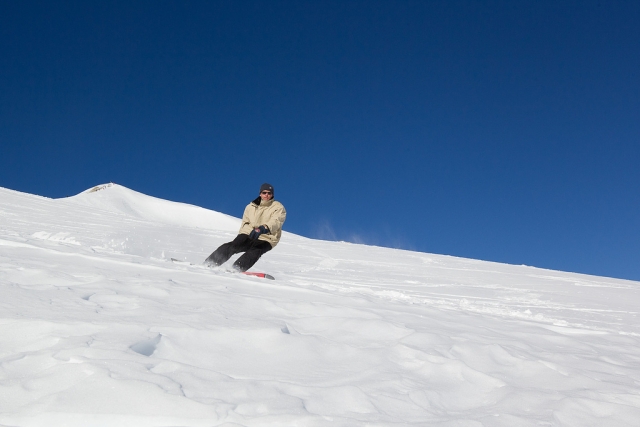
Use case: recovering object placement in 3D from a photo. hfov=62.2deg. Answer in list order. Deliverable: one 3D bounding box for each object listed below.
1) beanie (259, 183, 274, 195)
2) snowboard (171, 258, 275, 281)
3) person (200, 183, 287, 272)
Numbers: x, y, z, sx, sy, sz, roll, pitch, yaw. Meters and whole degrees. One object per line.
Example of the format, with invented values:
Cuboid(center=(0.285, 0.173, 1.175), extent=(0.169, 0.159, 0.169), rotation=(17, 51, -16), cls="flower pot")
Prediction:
Cuboid(center=(-0.932, -0.443, 9.411), extent=(0.202, 0.178, 0.292), rotation=(6, 1, -14), cls="beanie")
Cuboid(center=(-1.415, 0.861, 8.083), extent=(1.511, 0.106, 0.677), rotation=(6, 1, 4), cls="snowboard")
Cuboid(center=(-1.182, 0.204, 9.133), extent=(1.038, 1.498, 1.280), rotation=(6, 1, -2), cls="person")
